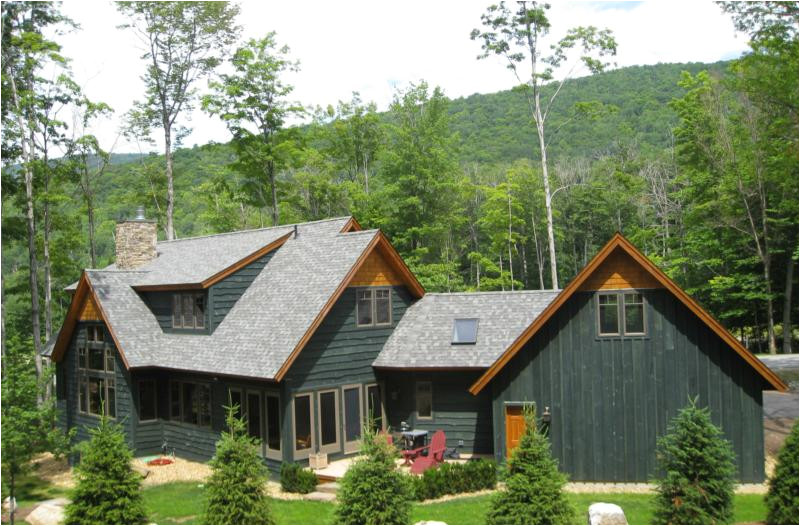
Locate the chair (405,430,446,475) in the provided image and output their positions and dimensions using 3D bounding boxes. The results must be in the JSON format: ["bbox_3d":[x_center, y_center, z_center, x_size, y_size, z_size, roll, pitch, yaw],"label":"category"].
[{"bbox_3d":[1.558,10.720,51.960,1.941,2.220,3.572,-5,-6,22],"label":"chair"}]
